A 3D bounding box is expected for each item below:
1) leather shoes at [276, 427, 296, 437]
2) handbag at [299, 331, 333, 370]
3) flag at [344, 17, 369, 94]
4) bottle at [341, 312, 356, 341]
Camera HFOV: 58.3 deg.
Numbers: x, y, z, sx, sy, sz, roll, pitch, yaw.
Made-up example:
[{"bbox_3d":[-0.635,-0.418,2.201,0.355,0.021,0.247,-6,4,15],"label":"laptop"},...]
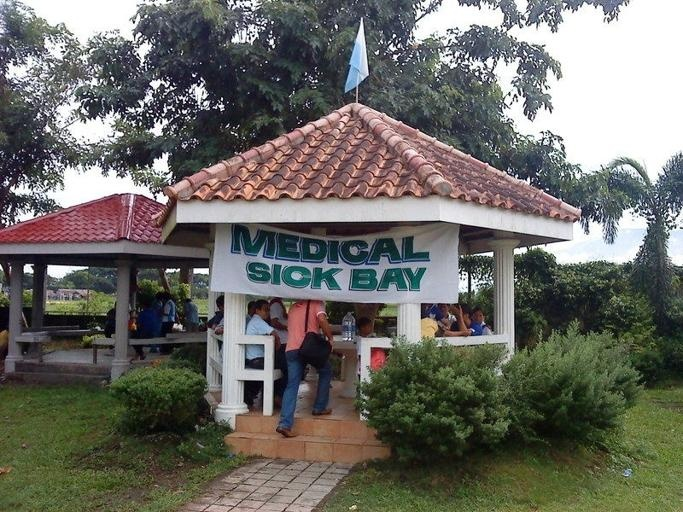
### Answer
[{"bbox_3d":[-0.994,3.195,11.163,0.395,0.193,0.144,17,-15,-36],"label":"leather shoes"},{"bbox_3d":[-0.464,1.776,11.270,0.612,0.635,0.317,27,-37,-10],"label":"handbag"},{"bbox_3d":[0.362,-4.714,14.221,0.577,1.712,0.761,-1,4,-8],"label":"flag"},{"bbox_3d":[0.171,1.470,12.944,0.401,0.853,0.420,0,0,0],"label":"bottle"}]
